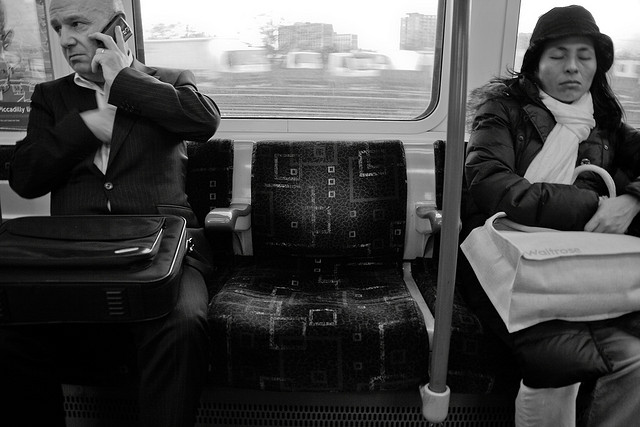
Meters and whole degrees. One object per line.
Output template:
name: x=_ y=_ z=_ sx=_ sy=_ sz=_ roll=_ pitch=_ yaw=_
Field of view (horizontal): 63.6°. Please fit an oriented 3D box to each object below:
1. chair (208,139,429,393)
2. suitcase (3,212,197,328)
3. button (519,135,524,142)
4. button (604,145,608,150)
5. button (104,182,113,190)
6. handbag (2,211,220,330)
chair: x=0.010 y=0.226 z=2.487 sx=0.992 sy=0.964 sz=1.252 roll=2 pitch=15 yaw=13
suitcase: x=-0.787 y=0.209 z=1.873 sx=0.571 sy=0.158 sz=0.416 roll=1 pitch=33 yaw=-7
button: x=0.853 y=-0.317 z=2.187 sx=0.027 sy=0.025 sz=0.007 roll=6 pitch=-2 yaw=-3
button: x=1.227 y=-0.282 z=2.209 sx=0.013 sy=0.016 sz=0.007 roll=-1 pitch=-7 yaw=2
button: x=-0.888 y=-0.116 z=2.167 sx=0.032 sy=0.030 sz=0.009 roll=6 pitch=-3 yaw=-7
handbag: x=-0.810 y=0.228 z=1.886 sx=0.611 sy=0.166 sz=0.442 roll=2 pitch=22 yaw=-4
